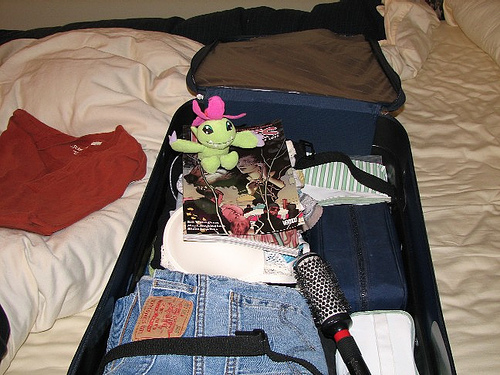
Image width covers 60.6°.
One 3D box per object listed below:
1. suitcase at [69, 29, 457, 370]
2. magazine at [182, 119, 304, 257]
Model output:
[{"bbox_3d":[0.132,-0.019,1.257,0.889,0.389,1.197,8,59,7],"label":"suitcase"},{"bbox_3d":[-0.030,0.001,1.273,0.328,0.084,0.444,-6,58,-1],"label":"magazine"}]
